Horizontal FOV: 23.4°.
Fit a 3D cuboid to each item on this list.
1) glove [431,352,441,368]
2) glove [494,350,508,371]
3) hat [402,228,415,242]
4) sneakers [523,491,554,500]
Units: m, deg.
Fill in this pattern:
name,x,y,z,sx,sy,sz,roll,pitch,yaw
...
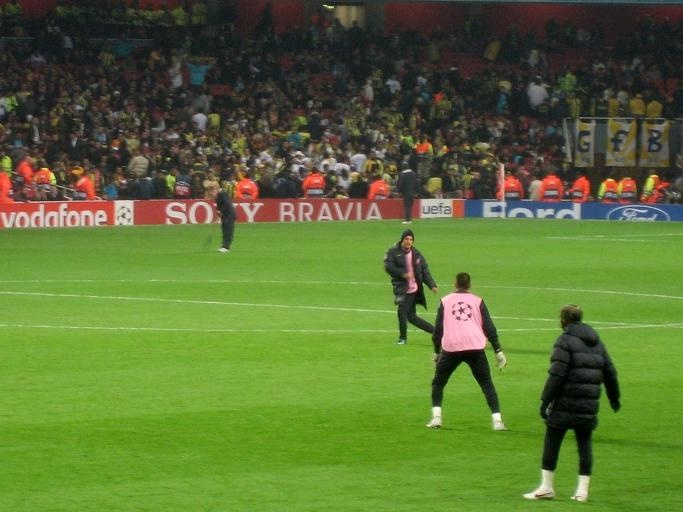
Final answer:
name,x,y,z,sx,sy,sz,roll,pitch,yaw
glove,2.036,2.170,35.352,0.243,0.204,0.262,3,6,10
glove,3.494,2.198,35.151,0.391,0.308,0.553,0,-22,-1
hat,1.659,-0.526,40.216,0.302,0.240,0.331,5,-30,-4
sneakers,3.938,4.712,32.904,0.641,0.211,0.196,3,0,14
